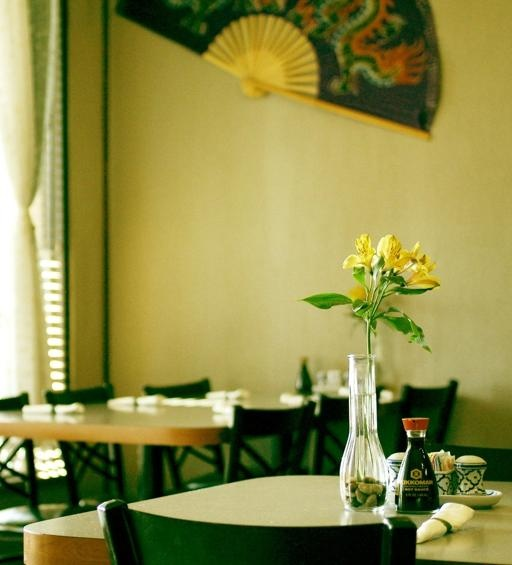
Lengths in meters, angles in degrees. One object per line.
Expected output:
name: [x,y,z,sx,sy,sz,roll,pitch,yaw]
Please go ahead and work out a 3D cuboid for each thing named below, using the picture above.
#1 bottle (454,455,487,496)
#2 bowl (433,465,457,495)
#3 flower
bottle: [0.374,0.338,1.177,0.056,0.076,0.055,-2,-2,0]
bowl: [0.321,0.336,1.149,0.040,0.048,0.047,-1,-6,4]
flower: [0.205,0.054,1.158,0.204,0.282,0.205,1,-10,-11]
